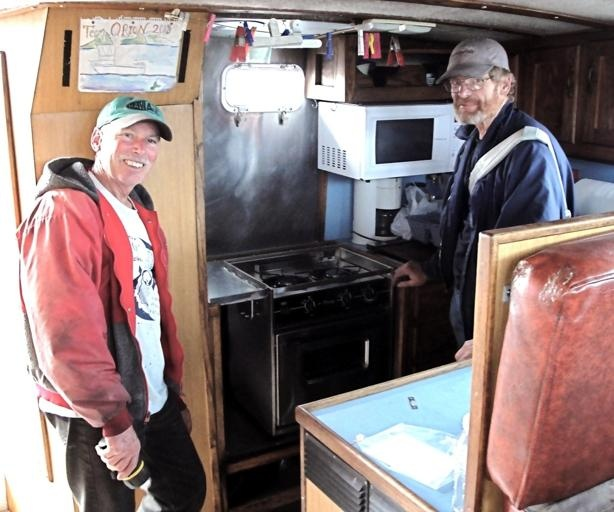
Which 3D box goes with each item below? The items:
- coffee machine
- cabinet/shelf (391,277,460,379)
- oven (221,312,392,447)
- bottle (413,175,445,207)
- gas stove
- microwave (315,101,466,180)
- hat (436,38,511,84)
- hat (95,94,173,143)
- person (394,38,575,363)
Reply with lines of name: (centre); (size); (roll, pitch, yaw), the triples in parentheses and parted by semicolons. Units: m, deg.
coffee machine: (0.446, -0.280, 3.251); (0.264, 0.387, 0.256); (-5, 11, -39)
cabinet/shelf: (0.746, 0.388, 3.192); (0.463, 0.747, 0.434); (2, -21, 13)
oven: (-0.017, 0.516, 2.954); (0.888, 0.564, 0.600); (-9, 12, -32)
bottle: (0.762, -0.418, 3.312); (0.140, 0.071, 0.225); (7, 39, 11)
gas stove: (0.015, 0.144, 2.901); (0.717, 0.295, 0.492); (-7, 11, -28)
microwave: (0.480, -0.689, 3.196); (0.823, 0.383, 0.591); (-15, 24, -41)
hat: (0.702, -0.860, 2.363); (0.234, 0.162, 0.323); (12, 28, 43)
hat: (-0.552, -0.437, 1.757); (0.140, 0.092, 0.186); (-6, 13, -40)
person: (0.810, -0.251, 2.393); (0.433, 1.357, 0.777); (-5, 10, -17)
